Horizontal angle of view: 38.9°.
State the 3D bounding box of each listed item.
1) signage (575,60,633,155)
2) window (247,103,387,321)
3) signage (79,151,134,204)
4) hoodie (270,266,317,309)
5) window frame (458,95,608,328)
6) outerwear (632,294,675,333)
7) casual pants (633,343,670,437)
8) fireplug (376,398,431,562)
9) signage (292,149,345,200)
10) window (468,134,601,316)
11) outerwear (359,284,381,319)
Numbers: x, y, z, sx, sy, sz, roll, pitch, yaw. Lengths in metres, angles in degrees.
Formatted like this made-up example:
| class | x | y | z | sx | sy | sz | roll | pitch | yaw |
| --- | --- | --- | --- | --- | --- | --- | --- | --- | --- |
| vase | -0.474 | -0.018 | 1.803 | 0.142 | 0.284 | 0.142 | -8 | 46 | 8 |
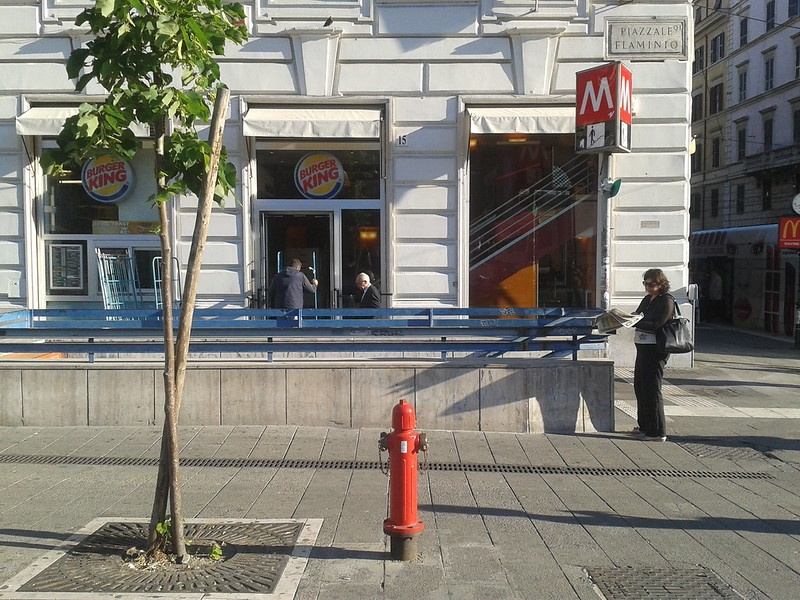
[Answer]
| class | x | y | z | sx | sy | sz | roll | pitch | yaw |
| --- | --- | --- | --- | --- | --- | --- | --- | --- | --- |
| signage | 3.614 | -3.428 | 20.204 | 0.970 | 1.519 | 0.688 | -1 | 2 | 8 |
| window | -1.726 | -1.558 | 21.013 | 2.253 | 4.225 | 1.257 | 2 | -22 | 6 |
| signage | -5.657 | -2.387 | 21.836 | 1.046 | 1.196 | 0.157 | -4 | -23 | -9 |
| hoodie | -1.981 | -0.026 | 20.319 | 0.754 | 0.995 | 0.646 | 0 | -30 | 0 |
| window frame | 2.769 | -1.783 | 23.407 | 3.294 | 5.180 | 3.372 | -1 | 4 | 11 |
| outerwear | 3.877 | 0.121 | 16.999 | 0.427 | 0.617 | 0.632 | 2 | 12 | -4 |
| casual pants | 3.703 | 1.337 | 16.834 | 0.451 | 1.345 | 0.372 | 0 | 2 | 20 |
| fireplug | 0.025 | 2.199 | 13.817 | 0.553 | 1.941 | 0.234 | -1 | 2 | -2 |
| signage | -1.587 | -2.448 | 21.712 | 0.867 | 0.884 | 0.125 | -3 | 8 | 4 |
| window | 2.551 | -1.535 | 21.571 | 3.203 | 3.505 | 1.783 | 1 | 0 | -3 |
| outerwear | -0.550 | -0.024 | 20.739 | 0.448 | 0.807 | 0.842 | 3 | 2 | -7 |
